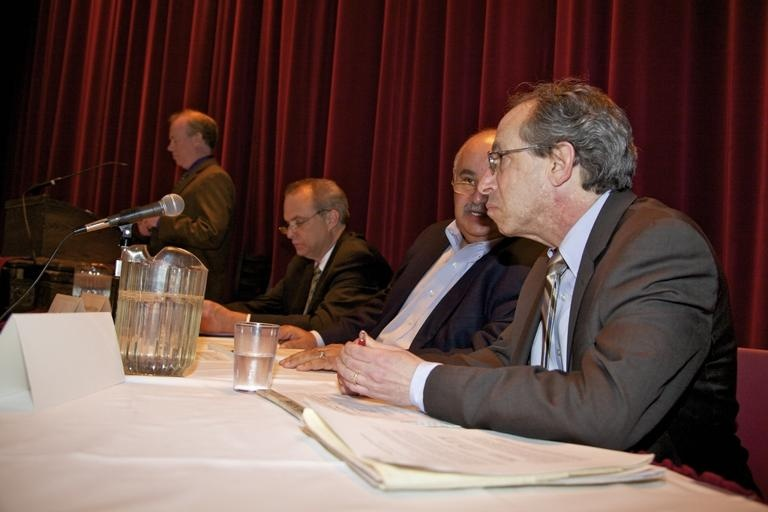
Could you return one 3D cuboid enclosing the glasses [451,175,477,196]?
[{"bbox_3d":[0.340,-0.298,2.474,0.085,0.031,0.090,2,-11,44],"label":"glasses"}]

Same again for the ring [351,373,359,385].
[{"bbox_3d":[-0.073,0.299,1.418,0.022,0.012,0.030,3,-1,4],"label":"ring"}]

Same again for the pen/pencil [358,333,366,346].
[{"bbox_3d":[-0.062,0.222,1.562,0.015,0.039,0.028,-4,6,2],"label":"pen/pencil"}]

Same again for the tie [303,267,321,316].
[{"bbox_3d":[-0.407,0.181,3.333,0.056,0.056,0.383,-14,37,22],"label":"tie"}]

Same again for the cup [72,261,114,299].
[{"bbox_3d":[-0.908,0.060,1.849,0.145,0.143,0.141,4,4,0],"label":"cup"}]

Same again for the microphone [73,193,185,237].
[{"bbox_3d":[-0.783,-0.127,1.778,0.255,0.123,0.237,6,9,10],"label":"microphone"}]

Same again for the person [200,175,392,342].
[{"bbox_3d":[-0.422,-0.027,3.174,0.973,0.752,0.734,6,-7,-33],"label":"person"}]
